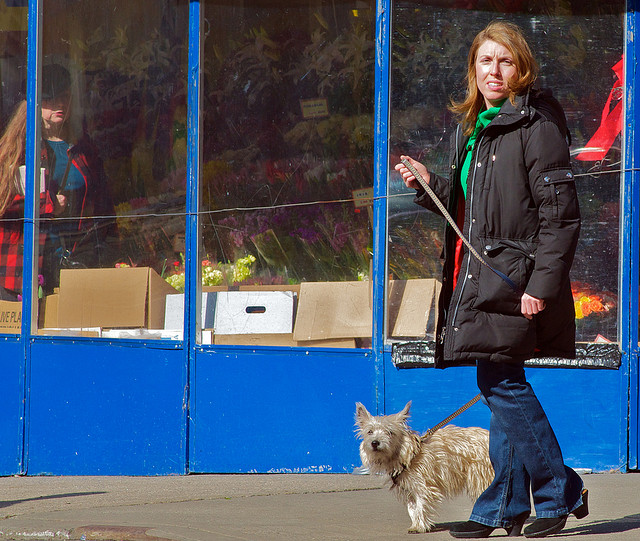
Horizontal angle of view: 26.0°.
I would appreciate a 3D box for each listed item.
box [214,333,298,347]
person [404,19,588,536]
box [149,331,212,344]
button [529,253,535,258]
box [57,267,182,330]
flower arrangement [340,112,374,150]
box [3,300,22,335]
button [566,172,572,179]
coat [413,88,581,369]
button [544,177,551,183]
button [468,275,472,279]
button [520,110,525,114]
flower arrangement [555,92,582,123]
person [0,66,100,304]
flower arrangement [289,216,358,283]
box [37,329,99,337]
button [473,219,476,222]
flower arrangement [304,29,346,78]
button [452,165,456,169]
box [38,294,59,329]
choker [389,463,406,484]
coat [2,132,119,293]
[{"bbox_3d":[-0.464,0.510,10.073,0.618,0.078,0.117,-2,7,9],"label":"box"},{"bbox_3d":[1.085,0.075,8.088,0.892,2.970,0.692,1,7,26],"label":"person"},{"bbox_3d":[-1.019,0.500,10.155,0.494,0.075,0.122,1,-1,21],"label":"box"},{"bbox_3d":[1.198,-0.077,7.889,0.029,0.025,0.013,-2,7,3],"label":"button"},{"bbox_3d":[-1.580,0.214,10.487,0.579,0.383,0.601,0,-10,4],"label":"box"},{"bbox_3d":[0.267,-1.005,10.112,0.077,0.256,0.330,-7,8,-34],"label":"flower arrangement"},{"bbox_3d":[-2.329,0.362,10.513,0.148,0.219,0.260,-4,7,-13],"label":"box"},{"bbox_3d":[1.401,-0.527,7.835,0.036,0.035,0.015,-9,9,-40],"label":"button"},{"bbox_3d":[1.079,-0.087,8.175,0.898,1.941,0.759,-4,-11,38],"label":"coat"},{"bbox_3d":[1.278,-0.504,7.830,0.028,0.031,0.007,-2,-7,10],"label":"button"},{"bbox_3d":[0.856,0.043,7.960,0.020,0.021,0.006,-1,0,11],"label":"button"},{"bbox_3d":[1.149,-0.896,7.922,0.016,0.017,0.004,-5,-15,9],"label":"button"},{"bbox_3d":[1.771,-1.151,9.843,0.269,0.270,0.070,3,3,24],"label":"flower arrangement"},{"bbox_3d":[-2.106,-0.652,10.617,0.812,1.782,0.368,-2,7,10],"label":"person"},{"bbox_3d":[-0.005,-0.117,10.304,0.177,0.506,0.392,-31,36,17],"label":"flower arrangement"},{"bbox_3d":[-1.888,0.479,10.366,0.483,0.053,0.092,-1,8,11],"label":"box"},{"bbox_3d":[0.883,-0.280,8.001,0.017,0.019,0.004,-2,-2,28],"label":"button"},{"bbox_3d":[0.014,-1.595,10.205,0.199,0.389,0.191,-1,12,13],"label":"flower arrangement"},{"bbox_3d":[0.789,-0.607,8.240,0.022,0.023,0.005,-2,-8,31],"label":"button"},{"bbox_3d":[-2.050,0.319,10.487,0.165,0.228,0.167,-4,7,-10],"label":"box"},{"bbox_3d":[0.462,1.224,8.326,0.077,0.111,0.033,-14,22,9],"label":"choker"},{"bbox_3d":[-1.942,-0.412,10.616,1.030,1.481,0.741,1,-8,-3],"label":"coat"}]
